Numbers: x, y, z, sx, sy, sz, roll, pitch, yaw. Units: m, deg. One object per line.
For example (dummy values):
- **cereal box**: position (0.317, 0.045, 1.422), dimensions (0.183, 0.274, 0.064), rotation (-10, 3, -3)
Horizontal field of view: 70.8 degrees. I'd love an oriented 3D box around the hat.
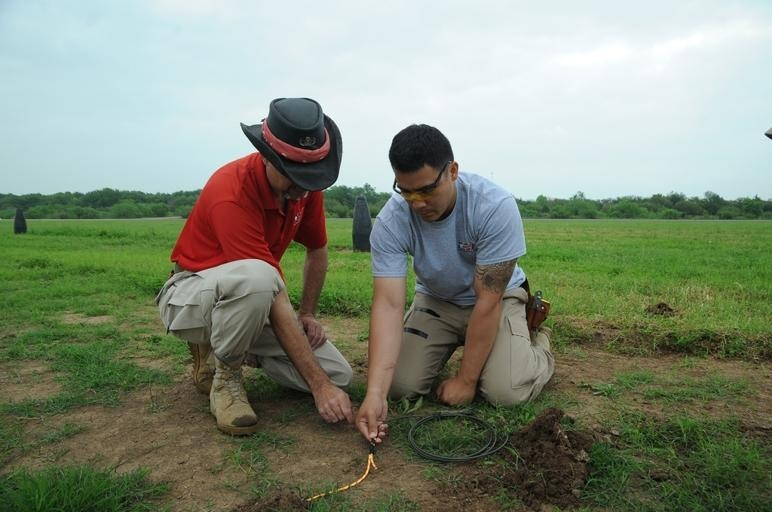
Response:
- **hat**: position (-0.729, -0.912, 4.381), dimensions (0.748, 0.764, 0.416), rotation (-5, 5, -30)
